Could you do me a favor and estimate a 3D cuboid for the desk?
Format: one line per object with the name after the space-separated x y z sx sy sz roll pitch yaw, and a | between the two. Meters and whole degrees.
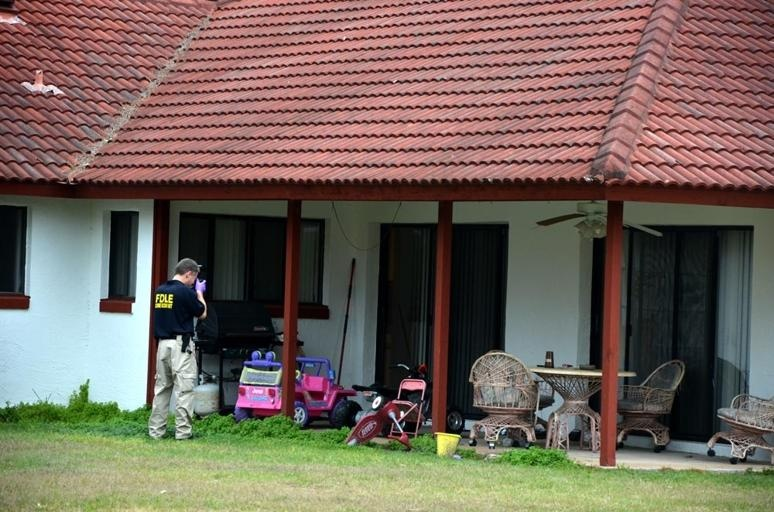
2.898 2.377 16.418 1.050 1.276 1.439 -1 -6 16 | desk

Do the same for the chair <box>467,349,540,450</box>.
1.834 2.225 16.212 1.052 1.477 0.578 1 -6 5 | chair

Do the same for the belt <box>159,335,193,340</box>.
-3.213 1.206 15.681 0.479 0.097 0.130 2 -6 -5 | belt

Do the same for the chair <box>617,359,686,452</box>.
4.194 2.348 16.745 1.092 1.324 0.897 2 -2 -6 | chair

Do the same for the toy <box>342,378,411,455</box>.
-0.049 2.504 15.885 0.577 0.982 1.437 13 16 41 | toy

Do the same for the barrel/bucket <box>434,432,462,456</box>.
0.893 2.755 15.430 0.335 0.240 0.330 5 -6 1 | barrel/bucket
